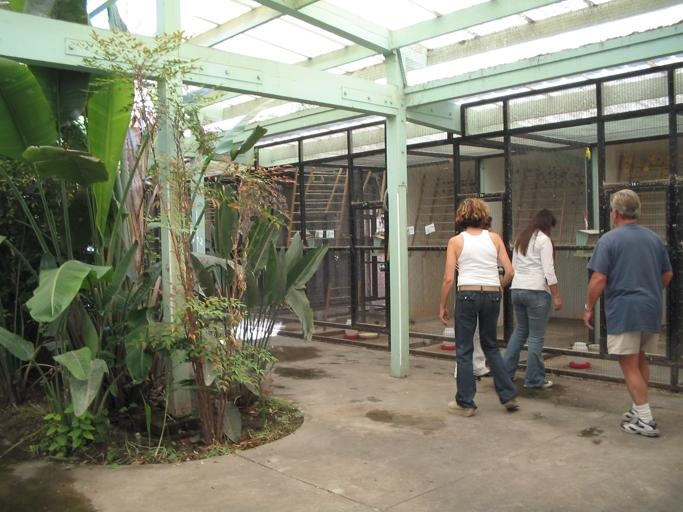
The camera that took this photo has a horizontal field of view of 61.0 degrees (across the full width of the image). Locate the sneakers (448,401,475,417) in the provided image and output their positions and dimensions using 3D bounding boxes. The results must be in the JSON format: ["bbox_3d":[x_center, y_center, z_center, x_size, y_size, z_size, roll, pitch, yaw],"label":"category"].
[{"bbox_3d":[1.212,1.528,5.847,0.105,0.119,0.249,-8,14,-32],"label":"sneakers"}]

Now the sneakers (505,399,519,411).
[{"bbox_3d":[1.716,1.496,5.834,0.115,0.058,0.124,1,-12,-10],"label":"sneakers"}]

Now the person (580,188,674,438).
[{"bbox_3d":[2.637,0.483,5.358,0.668,2.187,0.553,1,6,28],"label":"person"}]

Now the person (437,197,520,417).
[{"bbox_3d":[1.388,0.490,5.832,0.752,2.138,0.437,-1,5,5],"label":"person"}]

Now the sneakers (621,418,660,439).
[{"bbox_3d":[2.677,1.530,5.258,0.355,0.179,0.139,3,5,41],"label":"sneakers"}]

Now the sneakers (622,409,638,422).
[{"bbox_3d":[2.685,1.480,5.385,0.063,0.081,0.125,-1,2,-35],"label":"sneakers"}]

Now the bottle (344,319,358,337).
[{"bbox_3d":[0.174,1.215,9.748,0.234,0.324,0.243,-1,-4,0],"label":"bottle"}]

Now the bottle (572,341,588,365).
[{"bbox_3d":[3.013,1.206,7.245,0.071,0.277,0.290,6,-5,-31],"label":"bottle"}]
